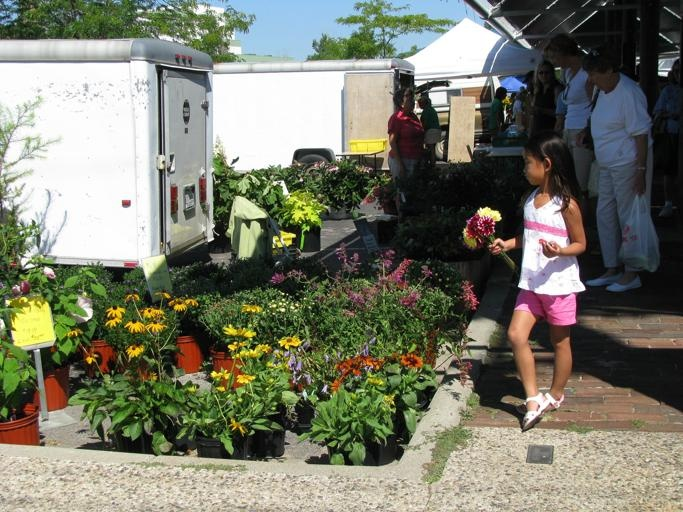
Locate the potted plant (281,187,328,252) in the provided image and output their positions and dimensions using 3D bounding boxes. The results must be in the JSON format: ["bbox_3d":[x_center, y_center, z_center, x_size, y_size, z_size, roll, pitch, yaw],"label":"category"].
[{"bbox_3d":[-0.563,-0.615,11.356,0.873,1.083,1.056,-1,12,0],"label":"potted plant"}]

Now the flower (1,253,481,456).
[{"bbox_3d":[-0.542,0.834,4.958,2.214,0.721,1.940,3,9,13],"label":"flower"}]

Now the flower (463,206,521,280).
[{"bbox_3d":[1.484,-0.087,6.482,0.692,0.455,0.521,35,18,-7],"label":"flower"}]

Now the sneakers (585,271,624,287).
[{"bbox_3d":[2.875,0.237,7.082,0.352,0.146,0.150,-4,5,-5],"label":"sneakers"}]

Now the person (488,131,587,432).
[{"bbox_3d":[1.394,0.177,4.412,0.486,1.965,0.427,0,7,19],"label":"person"}]

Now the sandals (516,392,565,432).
[{"bbox_3d":[1.373,1.030,4.483,0.429,0.156,0.140,-31,9,-40],"label":"sandals"}]

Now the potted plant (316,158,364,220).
[{"bbox_3d":[0.030,-1.381,12.953,0.862,1.038,1.003,-1,7,4],"label":"potted plant"}]

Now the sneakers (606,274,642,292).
[{"bbox_3d":[3.006,0.279,6.890,0.336,0.140,0.167,-3,5,-11],"label":"sneakers"}]
